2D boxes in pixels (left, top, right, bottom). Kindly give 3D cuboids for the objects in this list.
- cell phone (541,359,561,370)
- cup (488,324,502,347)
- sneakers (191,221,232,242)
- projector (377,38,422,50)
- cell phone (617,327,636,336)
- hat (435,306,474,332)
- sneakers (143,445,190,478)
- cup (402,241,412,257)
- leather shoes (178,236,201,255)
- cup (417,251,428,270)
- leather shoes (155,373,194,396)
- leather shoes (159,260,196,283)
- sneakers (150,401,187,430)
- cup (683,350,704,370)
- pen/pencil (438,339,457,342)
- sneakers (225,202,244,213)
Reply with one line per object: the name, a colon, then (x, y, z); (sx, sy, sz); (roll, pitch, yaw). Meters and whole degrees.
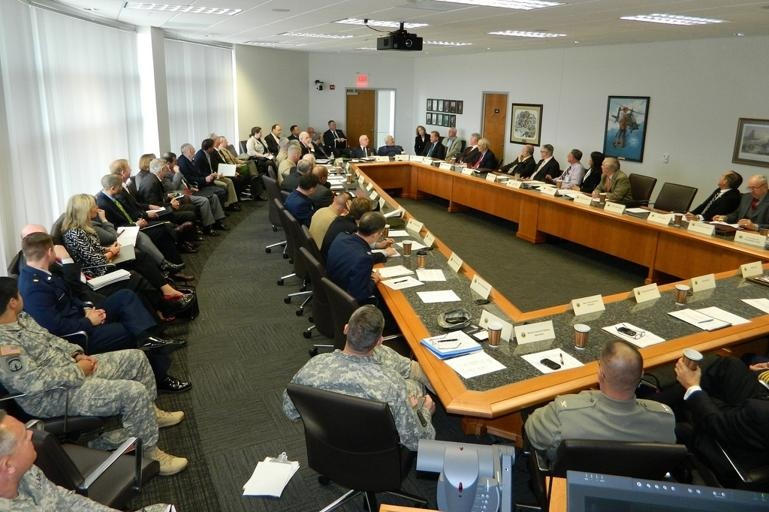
cell phone: (1.094, 0.712, 3.362); (0.083, 0.018, 0.127); (-12, 21, -33)
cup: (0.761, 0.549, 3.557); (0.080, 0.143, 0.092); (10, 21, 28)
sneakers: (-2.744, -0.439, 8.082); (0.527, 0.213, 0.175); (-6, 19, -9)
projector: (0.237, -3.133, 7.524); (0.365, 0.121, 0.341); (-2, 15, -10)
cell phone: (1.754, 0.543, 3.706); (0.095, 0.016, 0.123); (-16, 24, -41)
hat: (0.518, 0.470, 3.807); (0.164, 0.044, 0.155); (-8, 29, -5)
sneakers: (-1.504, 1.400, 3.565); (0.228, 0.216, 0.174); (4, 19, 12)
cup: (0.218, -0.079, 5.017); (0.126, 0.126, 0.118); (-1, 16, 0)
leather shoes: (-2.710, -0.160, 7.319); (0.410, 0.146, 0.120); (2, 14, 14)
cup: (0.347, 0.041, 4.824); (0.135, 0.135, 0.141); (-1, 15, 0)
leather shoes: (-1.771, 1.073, 4.295); (0.316, 0.115, 0.119); (-1, 18, -10)
leather shoes: (-2.445, 0.161, 5.964); (0.509, 0.186, 0.161); (1, 31, -30)
sneakers: (-1.678, 1.223, 4.012); (0.197, 0.126, 0.232); (-8, 20, -23)
cup: (1.998, 0.652, 3.322); (0.101, 0.104, 0.178); (10, 20, 28)
pen/pencil: (0.441, 0.586, 3.554); (0.096, 0.012, 0.018); (6, 44, -6)
sneakers: (-2.833, -0.920, 9.652); (0.381, 0.257, 0.138); (4, 15, 31)
